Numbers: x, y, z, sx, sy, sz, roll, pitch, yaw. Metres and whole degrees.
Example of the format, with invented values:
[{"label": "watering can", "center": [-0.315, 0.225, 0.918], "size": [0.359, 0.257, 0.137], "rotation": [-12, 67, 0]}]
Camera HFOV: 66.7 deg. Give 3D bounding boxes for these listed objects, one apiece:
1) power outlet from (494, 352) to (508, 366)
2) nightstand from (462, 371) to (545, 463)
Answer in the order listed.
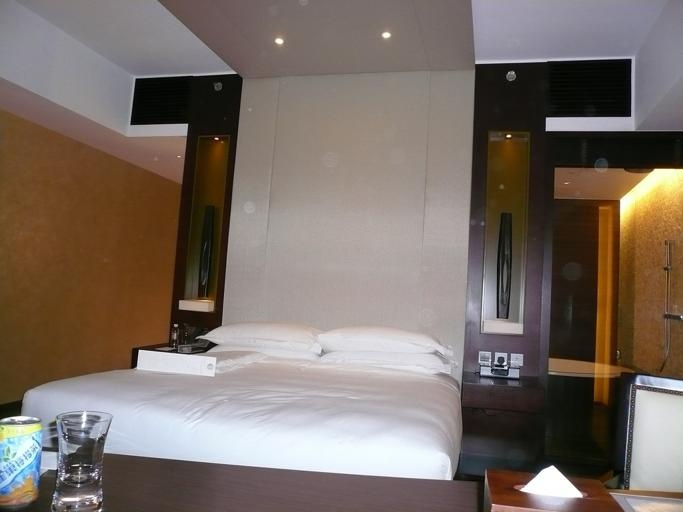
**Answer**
[{"label": "power outlet", "center": [1.294, 0.835, 4.213], "size": [0.090, 0.086, 0.010], "rotation": [-9, -25, -8]}, {"label": "nightstand", "center": [1.200, 1.196, 4.144], "size": [0.765, 0.805, 0.524], "rotation": [1, -1, 7]}]
